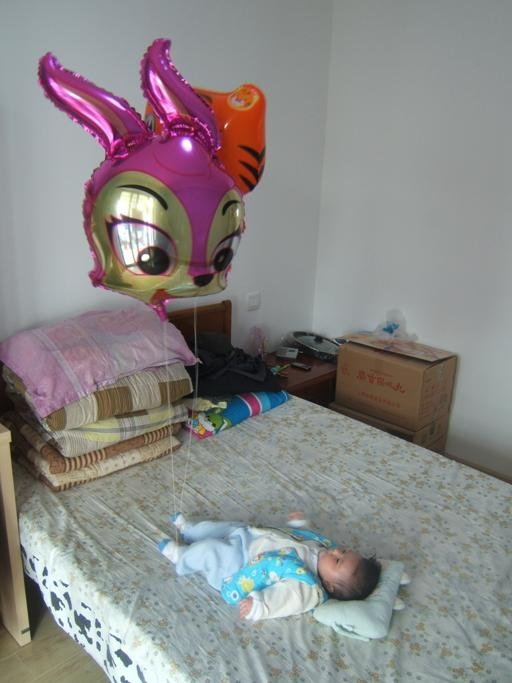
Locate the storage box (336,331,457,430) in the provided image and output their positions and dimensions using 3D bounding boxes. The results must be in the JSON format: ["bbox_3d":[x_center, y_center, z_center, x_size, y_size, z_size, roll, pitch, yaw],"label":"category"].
[{"bbox_3d":[0.754,0.199,2.739,0.401,0.363,0.544,-6,14,-31],"label":"storage box"}]

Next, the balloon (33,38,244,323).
[{"bbox_3d":[-0.223,-0.336,1.143,0.402,0.562,0.196,-3,14,-6],"label":"balloon"}]

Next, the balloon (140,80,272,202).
[{"bbox_3d":[-0.137,-0.501,1.333,0.336,0.232,0.187,12,20,18],"label":"balloon"}]

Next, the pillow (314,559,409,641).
[{"bbox_3d":[0.225,0.631,1.291,0.161,0.060,0.234,6,7,8],"label":"pillow"}]
